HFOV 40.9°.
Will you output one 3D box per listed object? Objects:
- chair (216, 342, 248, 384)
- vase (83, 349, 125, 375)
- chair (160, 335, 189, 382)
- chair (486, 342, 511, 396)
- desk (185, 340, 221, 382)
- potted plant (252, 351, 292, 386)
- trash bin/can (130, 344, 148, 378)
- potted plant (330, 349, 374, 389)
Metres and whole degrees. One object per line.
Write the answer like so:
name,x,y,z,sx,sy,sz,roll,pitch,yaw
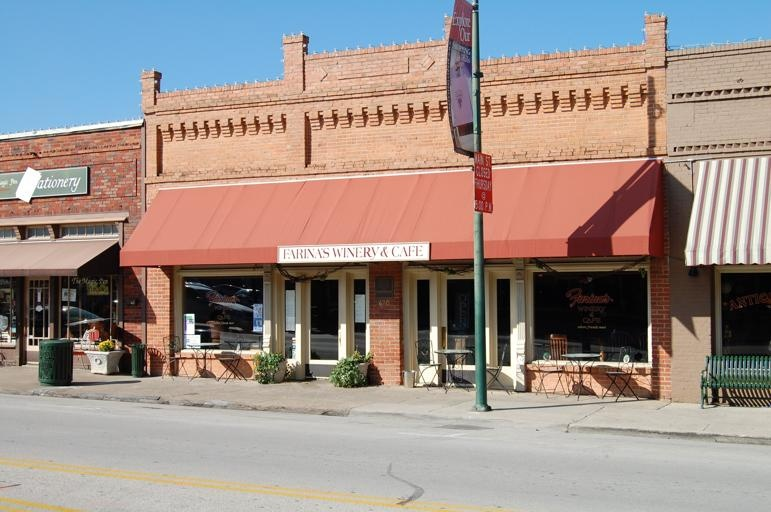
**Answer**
chair,-4.383,3.043,29.704,1.009,1.287,0.939,-3,-11,14
vase,-8.320,3.193,30.866,1.031,0.743,0.597,1,-9,-7
chair,-6.203,2.937,30.336,0.605,1.113,0.299,0,-9,-2
chair,2.939,2.902,27.255,0.607,1.357,0.580,-2,-9,12
desk,-5.235,3.063,30.249,0.925,1.002,0.934,-6,-9,32
potted plant,-3.168,3.130,28.760,1.010,0.782,0.943,3,2,-3
trash bin/can,-7.181,3.068,30.245,0.396,0.974,0.239,2,-9,-16
potted plant,-0.927,3.139,28.316,1.155,0.909,0.872,-1,-6,-9
